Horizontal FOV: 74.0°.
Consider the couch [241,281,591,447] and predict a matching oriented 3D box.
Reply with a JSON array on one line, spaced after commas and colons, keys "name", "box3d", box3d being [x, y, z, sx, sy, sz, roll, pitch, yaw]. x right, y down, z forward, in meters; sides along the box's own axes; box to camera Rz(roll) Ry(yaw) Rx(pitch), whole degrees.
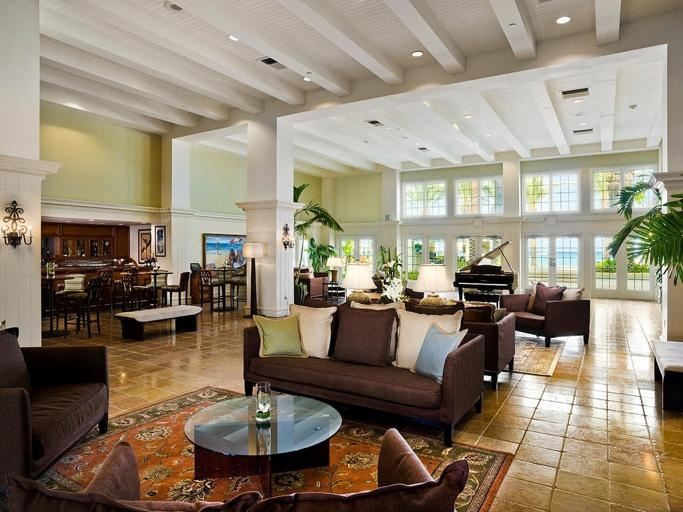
[{"name": "couch", "box3d": [0.646, 1.047, 5.186, 1.699, 1.166, 3.687, 7, 1, 35]}]

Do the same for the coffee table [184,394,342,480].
[{"name": "coffee table", "box3d": [-0.622, 1.540, 3.934, 1.198, 0.523, 1.349, 5, -3, -10]}]

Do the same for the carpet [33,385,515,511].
[{"name": "carpet", "box3d": [-0.938, 1.782, 4.024, 1.803, 0.795, 2.145, 0, 0, 32]}]

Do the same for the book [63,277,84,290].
[{"name": "book", "box3d": [-5.453, 0.548, 9.251, 0.303, 0.251, 0.299, -4, 9, -25]}]

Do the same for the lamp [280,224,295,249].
[{"name": "lamp", "box3d": [-1.154, -0.413, 9.957, 0.153, 0.558, 0.318, 6, 10, 36]}]
